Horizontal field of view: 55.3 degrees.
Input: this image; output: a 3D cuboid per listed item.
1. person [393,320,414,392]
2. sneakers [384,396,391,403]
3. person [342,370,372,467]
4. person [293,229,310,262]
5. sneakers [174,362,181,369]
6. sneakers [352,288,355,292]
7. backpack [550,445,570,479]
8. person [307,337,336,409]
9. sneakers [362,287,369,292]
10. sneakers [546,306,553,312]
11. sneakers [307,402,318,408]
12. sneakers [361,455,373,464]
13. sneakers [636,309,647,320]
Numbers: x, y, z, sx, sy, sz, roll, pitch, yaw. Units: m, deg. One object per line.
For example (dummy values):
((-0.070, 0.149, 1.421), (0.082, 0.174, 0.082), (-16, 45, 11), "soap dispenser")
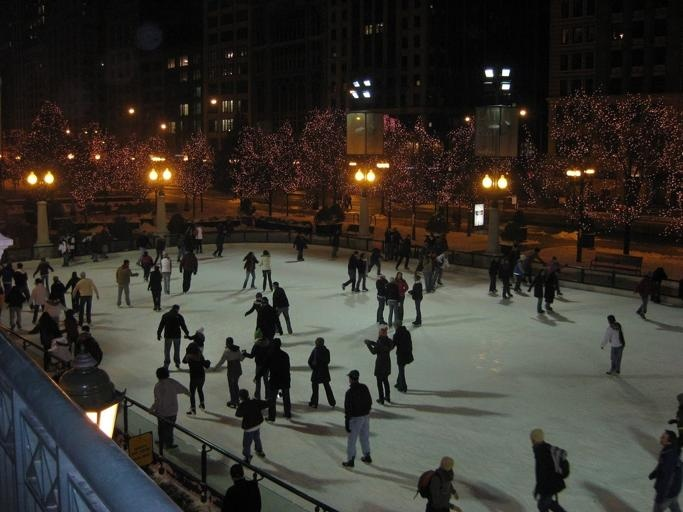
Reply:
((1.591, 2.542, 16.773), (0.491, 1.929, 1.591), (2, 5, 5), "person")
((1.170, 3.578, 16.182), (0.160, 0.262, 0.133), (-1, 1, 12), "sneakers")
((0.340, 3.279, 13.208), (0.560, 1.968, 0.695), (3, 5, 19), "person")
((-2.291, -0.541, 37.820), (0.851, 2.752, 1.029), (-6, 22, -7), "person")
((-4.591, 3.097, 18.351), (0.164, 0.204, 0.171), (-4, 11, -21), "sneakers")
((0.541, 1.464, 27.939), (0.086, 0.120, 0.157), (4, -6, -38), "sneakers")
((3.677, 3.479, 11.054), (0.376, 0.545, 0.188), (19, -38, -37), "backpack")
((-0.443, 2.710, 15.467), (0.641, 1.802, 0.478), (0, 18, 1), "person")
((1.057, 1.425, 28.336), (0.240, 0.206, 0.363), (1, 5, -2), "sneakers")
((7.938, 2.024, 24.800), (0.218, 0.188, 0.301), (17, 4, 41), "sneakers")
((-0.698, 3.620, 15.904), (0.087, 0.197, 0.261), (-5, 5, -41), "sneakers")
((0.534, 4.148, 13.374), (0.185, 0.158, 0.118), (5, 8, 28), "sneakers")
((11.082, 2.167, 23.989), (0.225, 0.130, 0.326), (25, 12, -19), "sneakers")
